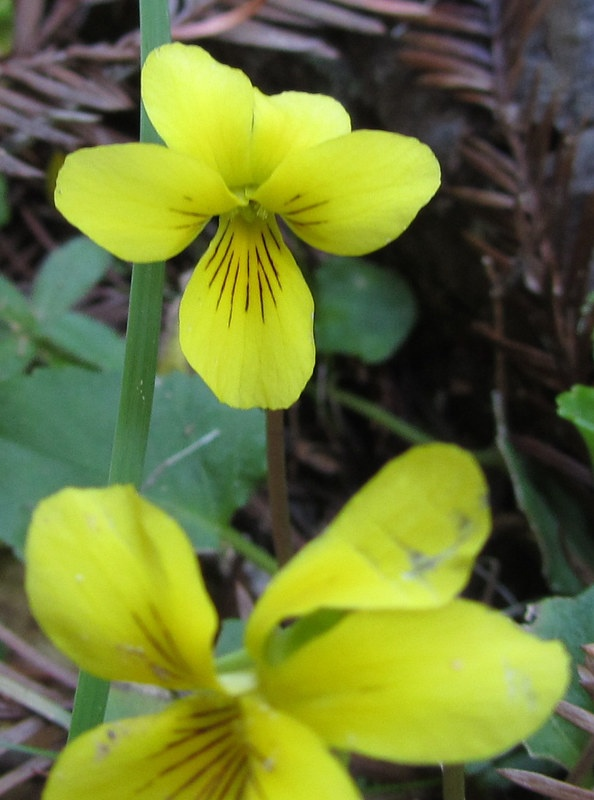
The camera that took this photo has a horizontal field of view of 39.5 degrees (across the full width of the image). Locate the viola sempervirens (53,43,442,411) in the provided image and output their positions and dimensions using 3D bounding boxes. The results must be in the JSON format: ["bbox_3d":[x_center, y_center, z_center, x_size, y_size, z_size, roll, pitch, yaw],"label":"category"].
[{"bbox_3d":[-0.014,-0.049,0.231,0.089,0.083,0.070,-32,51,-25],"label":"viola sempervirens"}]
